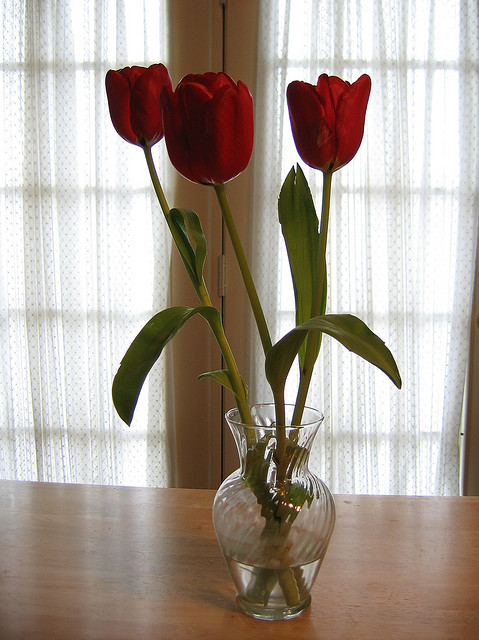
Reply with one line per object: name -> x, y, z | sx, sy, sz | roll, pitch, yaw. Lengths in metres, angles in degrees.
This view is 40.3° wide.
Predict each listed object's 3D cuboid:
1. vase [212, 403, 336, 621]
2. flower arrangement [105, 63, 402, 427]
vase -> 0.037, 0.160, 0.700 | 0.122, 0.350, 0.161 | 0, 1, -4
flower arrangement -> -0.001, -0.046, 0.629 | 0.198, 0.244, 0.442 | -8, 75, 0
